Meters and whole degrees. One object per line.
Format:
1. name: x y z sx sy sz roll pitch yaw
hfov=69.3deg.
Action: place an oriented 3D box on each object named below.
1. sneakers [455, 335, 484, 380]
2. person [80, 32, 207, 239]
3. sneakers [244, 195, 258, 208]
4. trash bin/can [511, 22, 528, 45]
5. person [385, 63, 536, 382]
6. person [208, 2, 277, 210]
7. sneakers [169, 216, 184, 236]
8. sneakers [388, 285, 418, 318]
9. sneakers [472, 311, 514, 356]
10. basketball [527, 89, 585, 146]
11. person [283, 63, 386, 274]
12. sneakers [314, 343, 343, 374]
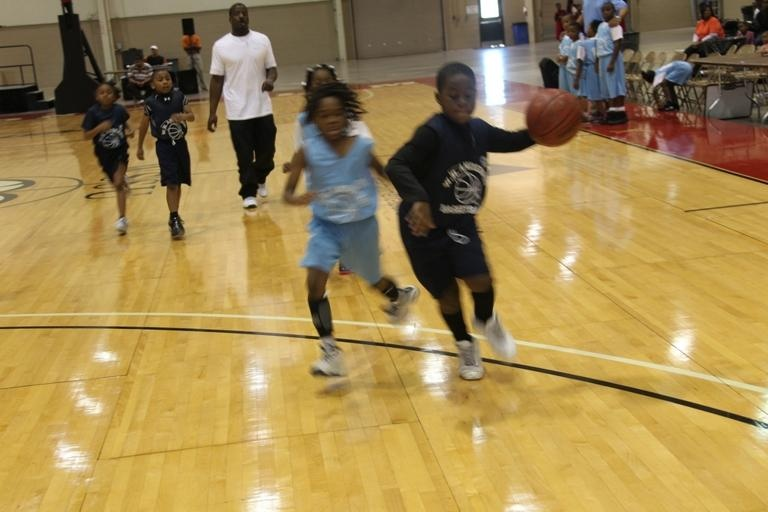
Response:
1. sneakers: 0.449 0.522 2.991 0.104 0.113 0.267 -10 40 7
2. person: -2.373 -1.052 5.651 1.202 1.613 0.664 4 21 23
3. sneakers: -1.500 -0.622 6.240 0.150 0.129 0.315 -3 3 -14
4. trash bin/can: 6.594 -10.909 27.020 0.783 0.960 0.426 0 20 13
5. person: 0.328 -0.125 2.777 0.600 1.606 0.456 -6 19 -5
6. person: -1.525 -1.634 6.158 0.764 2.150 0.639 -7 20 -8
7. sneakers: -2.064 -0.310 5.555 0.127 0.225 0.194 -13 21 -23
8. sneakers: 0.114 0.276 3.368 0.150 0.202 0.082 25 25 -10
9. sneakers: 0.581 0.412 2.918 0.141 0.279 0.118 -41 6 -5
10. basketball: 0.837 -0.686 2.769 0.257 0.288 0.265 0 19 13
11. person: -0.332 -0.410 3.739 0.817 1.556 0.485 -12 45 -10
12. sneakers: -0.288 0.548 3.034 0.200 0.175 0.122 1 1 -5
